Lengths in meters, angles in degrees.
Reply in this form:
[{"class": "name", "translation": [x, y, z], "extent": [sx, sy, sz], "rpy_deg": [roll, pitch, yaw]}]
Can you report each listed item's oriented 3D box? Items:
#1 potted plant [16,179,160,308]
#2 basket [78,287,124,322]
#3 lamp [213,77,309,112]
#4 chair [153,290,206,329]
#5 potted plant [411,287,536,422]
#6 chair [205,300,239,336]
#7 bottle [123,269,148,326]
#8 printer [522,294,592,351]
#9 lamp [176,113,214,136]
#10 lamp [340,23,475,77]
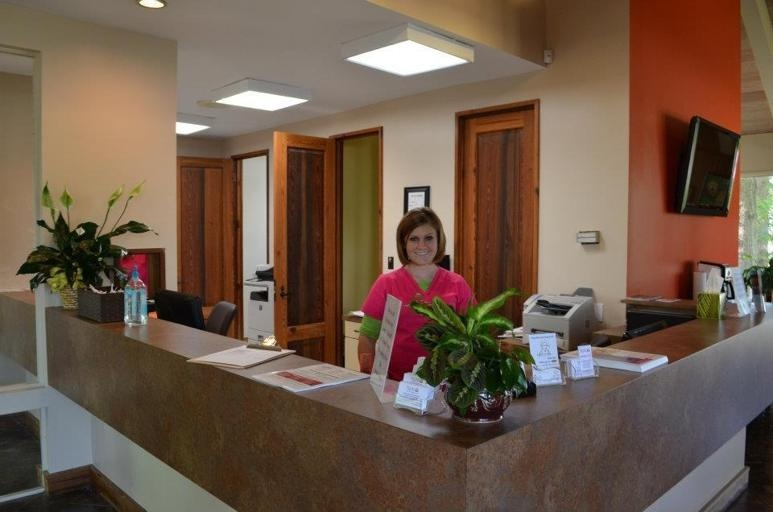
[{"class": "potted plant", "translation": [-2.204, -0.082, 4.100], "extent": [0.729, 0.746, 0.829], "rpy_deg": [12, 4, 42]}, {"class": "basket", "translation": [-1.905, 0.319, 3.701], "extent": [0.382, 0.203, 0.140], "rpy_deg": [7, 11, 27]}, {"class": "lamp", "translation": [-1.252, -1.632, 5.635], "extent": [0.752, 0.224, 0.656], "rpy_deg": [-7, 13, -38]}, {"class": "chair", "translation": [-1.468, 0.365, 3.968], "extent": [0.638, 0.228, 0.143], "rpy_deg": [11, 14, 43]}, {"class": "potted plant", "translation": [0.359, 0.394, 2.212], "extent": [0.504, 0.476, 0.480], "rpy_deg": [1, -5, 16]}, {"class": "chair", "translation": [-1.354, 0.507, 4.584], "extent": [0.226, 0.257, 0.549], "rpy_deg": [-2, 11, -18]}, {"class": "bottle", "translation": [-1.632, 0.252, 3.633], "extent": [0.138, 0.353, 0.202], "rpy_deg": [-4, 11, -26]}, {"class": "printer", "translation": [1.393, 0.466, 4.564], "extent": [0.495, 0.398, 0.513], "rpy_deg": [0, -2, 45]}, {"class": "lamp", "translation": [-2.409, -1.664, 7.060], "extent": [0.412, 0.212, 1.087], "rpy_deg": [-2, 11, -19]}, {"class": "lamp", "translation": [0.220, -1.657, 4.540], "extent": [0.775, 0.245, 0.867], "rpy_deg": [11, 14, 42]}]
